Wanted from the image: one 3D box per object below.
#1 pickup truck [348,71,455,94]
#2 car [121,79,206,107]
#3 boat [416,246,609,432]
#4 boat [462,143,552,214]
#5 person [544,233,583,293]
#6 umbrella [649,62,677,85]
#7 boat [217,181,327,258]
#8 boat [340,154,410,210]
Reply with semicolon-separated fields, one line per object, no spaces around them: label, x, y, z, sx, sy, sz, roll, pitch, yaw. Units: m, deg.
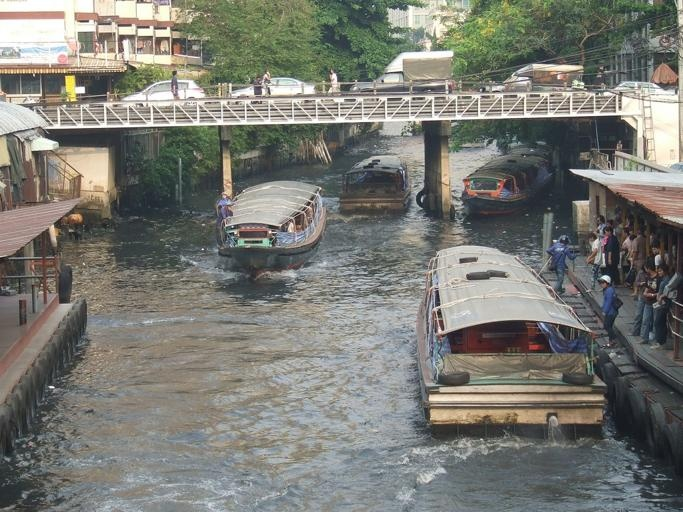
pickup truck;3.357;-10.583;60.842;6.561;1.537;2.226;1;6;8
car;-10.461;-10.223;61.872;6.067;1.924;2.927;0;7;6
boat;5.156;2.415;36.544;6.286;3.521;13.201;1;14;0
boat;10.328;-4.369;62.867;3.701;2.585;9.953;1;14;21
person;8.175;0.268;38.447;0.982;2.023;0.876;13;18;40
umbrella;19.256;-10.802;61.828;1.985;1.182;2.322;0;6;9
boat;-3.340;-2.150;49.184;4.498;1.896;8.306;3;27;11
boat;2.586;-4.440;66.654;4.630;2.030;8.903;-1;8;12
